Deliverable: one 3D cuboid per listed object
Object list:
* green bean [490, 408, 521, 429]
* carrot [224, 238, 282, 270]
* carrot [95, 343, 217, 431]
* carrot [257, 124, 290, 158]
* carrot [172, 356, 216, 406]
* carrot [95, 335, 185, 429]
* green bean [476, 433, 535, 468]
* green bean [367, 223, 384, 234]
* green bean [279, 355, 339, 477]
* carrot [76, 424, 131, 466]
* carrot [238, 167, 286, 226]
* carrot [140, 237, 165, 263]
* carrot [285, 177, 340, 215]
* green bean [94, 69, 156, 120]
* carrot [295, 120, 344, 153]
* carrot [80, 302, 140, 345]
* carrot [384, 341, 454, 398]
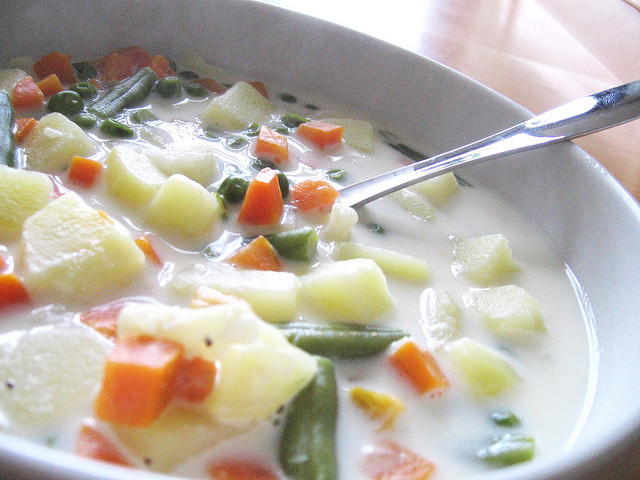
[{"bbox_3d":[0.486,0.466,1.652,0.056,0.021,0.043,6,42,10],"label":"green bean"},{"bbox_3d":[-0.189,0.057,1.884,0.094,0.077,0.127,45,32,24],"label":"carrot"},{"bbox_3d":[-0.438,0.368,1.525,0.148,0.145,0.207,7,-7,7],"label":"carrot"},{"bbox_3d":[-0.173,-0.387,2.366,0.147,0.038,0.137,11,44,-18],"label":"carrot"},{"bbox_3d":[-0.299,0.334,1.509,0.110,0.114,0.037,5,10,-5],"label":"carrot"},{"bbox_3d":[-0.413,0.321,1.535,0.185,0.188,0.211,17,-1,10],"label":"carrot"},{"bbox_3d":[0.478,0.529,1.593,0.157,0.062,0.090,13,34,-29],"label":"green bean"},{"bbox_3d":[0.191,-0.037,2.157,0.038,0.017,0.060,-1,43,-43],"label":"green bean"},{"bbox_3d":[-0.019,0.444,1.548,0.124,0.158,0.277,21,31,-16],"label":"green bean"},{"bbox_3d":[-0.499,0.478,1.422,0.148,0.036,0.059,40,31,16],"label":"carrot"},{"bbox_3d":[-0.167,-0.134,2.083,0.145,0.165,0.149,27,29,-7],"label":"carrot"},{"bbox_3d":[-0.493,0.031,1.878,0.080,0.050,0.021,51,-9,-35],"label":"carrot"},{"bbox_3d":[-0.031,-0.159,2.199,0.221,0.109,0.098,-9,19,-30],"label":"carrot"},{"bbox_3d":[-0.735,-0.558,2.480,0.083,0.095,0.318,30,66,17],"label":"green bean"},{"bbox_3d":[0.010,-0.422,2.503,0.097,0.109,0.193,-19,29,-37],"label":"carrot"},{"bbox_3d":[-0.563,0.214,1.668,0.103,0.031,0.101,30,22,29],"label":"carrot"},{"bbox_3d":[0.262,0.345,1.683,0.128,0.058,0.149,-24,63,-35],"label":"carrot"}]
